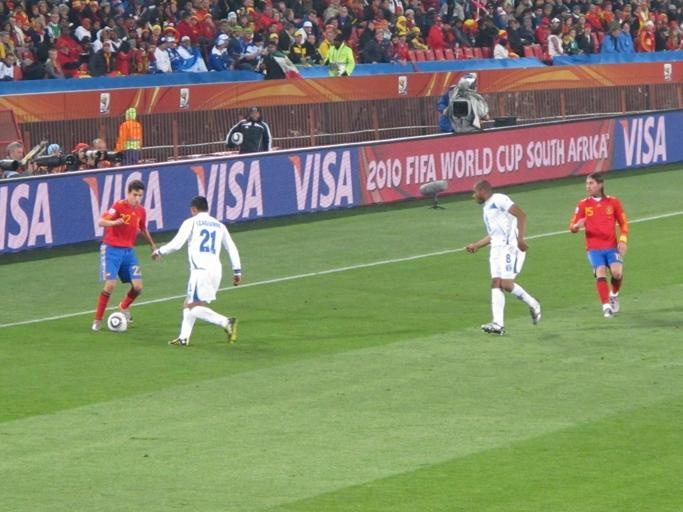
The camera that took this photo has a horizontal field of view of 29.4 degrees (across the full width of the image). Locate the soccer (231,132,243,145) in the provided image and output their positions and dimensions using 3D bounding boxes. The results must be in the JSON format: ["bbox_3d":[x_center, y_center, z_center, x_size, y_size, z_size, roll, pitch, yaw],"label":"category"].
[{"bbox_3d":[-2.386,-2.741,30.004,0.274,0.273,0.212,18,26,23],"label":"soccer"}]

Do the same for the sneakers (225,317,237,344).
[{"bbox_3d":[-1.582,1.057,18.780,0.139,0.414,0.252,0,14,5],"label":"sneakers"}]

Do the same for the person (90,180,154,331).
[{"bbox_3d":[-3.387,-0.049,20.117,0.674,2.179,1.246,11,18,39],"label":"person"}]

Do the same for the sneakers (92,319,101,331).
[{"bbox_3d":[-3.759,1.028,19.990,0.148,0.170,0.226,-4,14,-11],"label":"sneakers"}]

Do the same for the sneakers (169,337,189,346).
[{"bbox_3d":[-2.378,1.238,19.039,0.320,0.135,0.114,7,15,16],"label":"sneakers"}]

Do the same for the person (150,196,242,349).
[{"bbox_3d":[-2.033,0.260,19.028,1.104,2.111,1.191,-2,14,-6],"label":"person"}]

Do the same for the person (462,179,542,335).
[{"bbox_3d":[2.448,-0.007,19.618,1.071,2.237,1.397,1,14,6],"label":"person"}]

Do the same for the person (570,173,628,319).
[{"bbox_3d":[4.023,-0.182,20.324,0.905,2.120,0.973,9,17,36],"label":"person"}]

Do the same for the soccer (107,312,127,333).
[{"bbox_3d":[-3.416,0.972,19.833,0.242,0.308,0.318,3,6,14],"label":"soccer"}]
